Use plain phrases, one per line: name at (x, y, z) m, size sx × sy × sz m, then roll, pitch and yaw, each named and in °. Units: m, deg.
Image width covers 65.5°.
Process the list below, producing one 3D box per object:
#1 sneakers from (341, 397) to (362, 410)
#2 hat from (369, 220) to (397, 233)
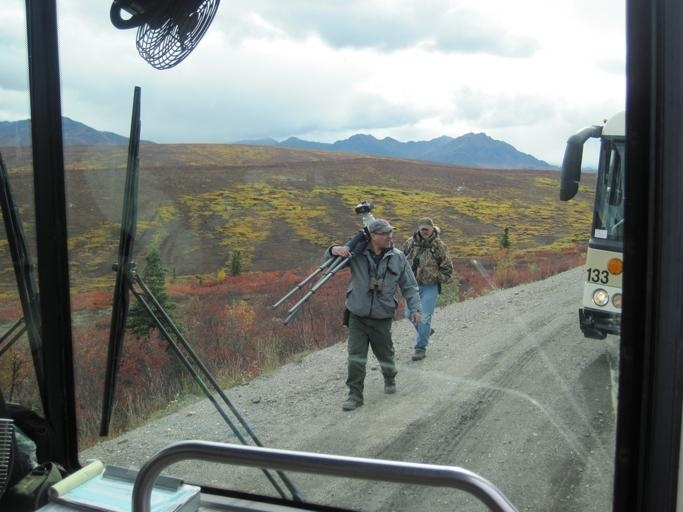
sneakers at (0.056, 0.726, 2.608) m, size 0.115 × 0.085 × 0.044 m, roll -1°, pitch 2°, yaw 0°
hat at (0.189, -0.141, 2.592) m, size 0.086 × 0.049 × 0.065 m, roll -13°, pitch 3°, yaw 11°
